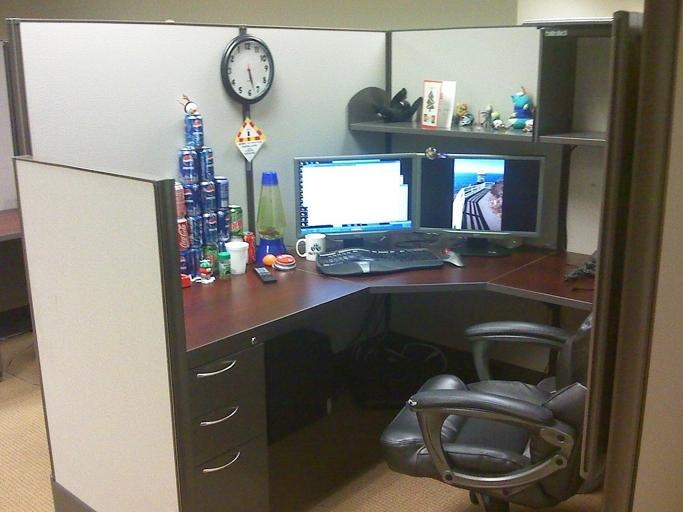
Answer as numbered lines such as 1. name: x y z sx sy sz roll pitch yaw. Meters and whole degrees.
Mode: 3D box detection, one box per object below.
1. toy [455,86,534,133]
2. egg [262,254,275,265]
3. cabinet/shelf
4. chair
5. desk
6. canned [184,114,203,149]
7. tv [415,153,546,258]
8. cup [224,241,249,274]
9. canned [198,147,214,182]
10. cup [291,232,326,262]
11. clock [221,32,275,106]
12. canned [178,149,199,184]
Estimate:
1. toy: 0.755 -0.682 2.644 0.155 0.192 0.508 -18 25 -35
2. egg: -0.329 0.019 2.583 0.057 0.044 0.046 3 -15 13
3. cabinet/shelf: 0.700 -0.814 2.648 1.109 0.594 0.421 7 18 37
4. chair: 0.512 0.528 1.913 0.647 0.644 0.584 3 15 23
5. desk: 0.158 0.541 2.221 1.272 0.748 1.295 6 13 39
6. canned: -0.625 -0.535 2.439 0.093 0.145 0.070 -11 16 -26
7. tv: 0.661 -0.256 2.696 0.514 0.402 0.148 3 16 13
8. cup: -0.436 -0.002 2.499 0.134 0.130 0.132 1 12 0
9. canned: -0.577 -0.398 2.463 0.043 0.142 0.082 8 19 39
10. cup: -0.134 -0.051 2.718 0.177 0.126 0.099 -10 21 -18
11. clock: -0.427 -0.841 2.534 0.335 0.339 0.050 -11 12 -40
12. canned: -0.647 -0.381 2.417 0.081 0.146 0.046 -7 15 -13
